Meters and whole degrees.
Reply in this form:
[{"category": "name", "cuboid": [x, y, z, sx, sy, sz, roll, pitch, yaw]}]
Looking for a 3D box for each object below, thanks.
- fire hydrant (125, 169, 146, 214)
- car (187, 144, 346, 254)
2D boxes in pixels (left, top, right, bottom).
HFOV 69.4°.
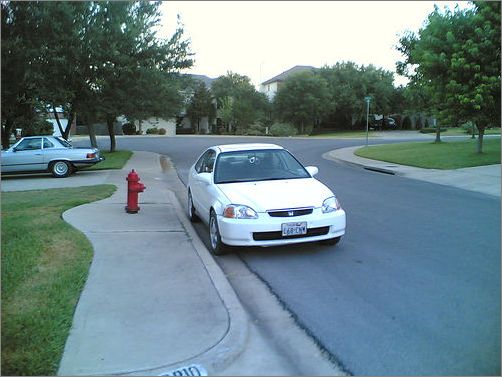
[{"category": "fire hydrant", "cuboid": [-2.989, 0.057, 9.262, 0.476, 1.113, 0.430, -3, 10, -20]}, {"category": "car", "cuboid": [0.185, 0.128, 7.341, 2.198, 1.967, 2.904, -3, 11, -23]}]
